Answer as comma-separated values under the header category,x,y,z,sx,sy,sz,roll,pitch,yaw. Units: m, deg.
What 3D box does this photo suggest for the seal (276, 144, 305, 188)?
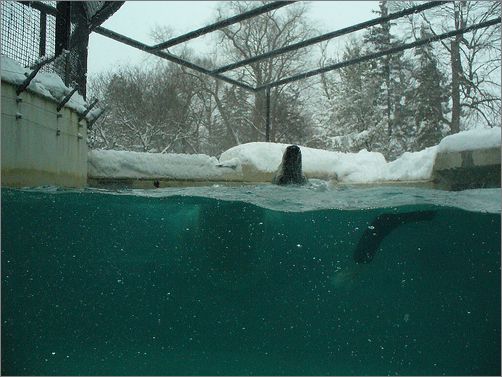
category,x,y,z,sx,sy,sz,roll,pitch,yaw
seal,1.218,-0.702,18.237,0.720,1.375,0.737,0,13,-42
